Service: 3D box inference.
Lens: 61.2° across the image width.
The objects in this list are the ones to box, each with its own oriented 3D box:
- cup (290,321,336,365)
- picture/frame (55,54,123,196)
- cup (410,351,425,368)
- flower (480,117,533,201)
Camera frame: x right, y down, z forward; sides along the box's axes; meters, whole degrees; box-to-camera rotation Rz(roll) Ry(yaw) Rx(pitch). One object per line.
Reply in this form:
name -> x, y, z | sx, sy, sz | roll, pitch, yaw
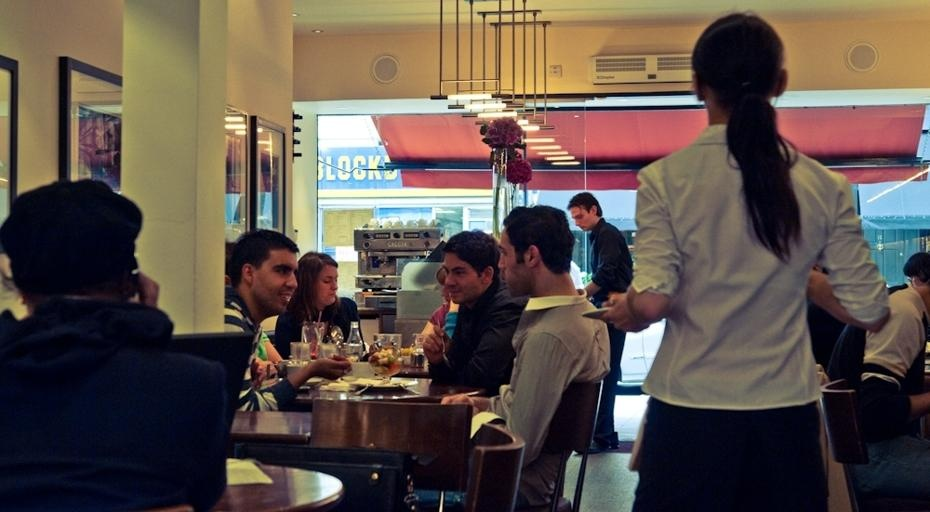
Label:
cup -> -0.811, 0.495, 4.486 | 0.209, 0.282, 0.311 | 2, -6, 20
picture/frame -> -2.449, -0.905, 5.262 | 0.256, 0.807, 0.456 | -2, -3, 22
cup -> -0.288, 0.631, 4.846 | 0.106, 0.162, 0.096 | 1, -10, 0
flower -> 0.349, -0.833, 6.688 | 0.390, 0.701, 0.386 | -1, -2, -1
